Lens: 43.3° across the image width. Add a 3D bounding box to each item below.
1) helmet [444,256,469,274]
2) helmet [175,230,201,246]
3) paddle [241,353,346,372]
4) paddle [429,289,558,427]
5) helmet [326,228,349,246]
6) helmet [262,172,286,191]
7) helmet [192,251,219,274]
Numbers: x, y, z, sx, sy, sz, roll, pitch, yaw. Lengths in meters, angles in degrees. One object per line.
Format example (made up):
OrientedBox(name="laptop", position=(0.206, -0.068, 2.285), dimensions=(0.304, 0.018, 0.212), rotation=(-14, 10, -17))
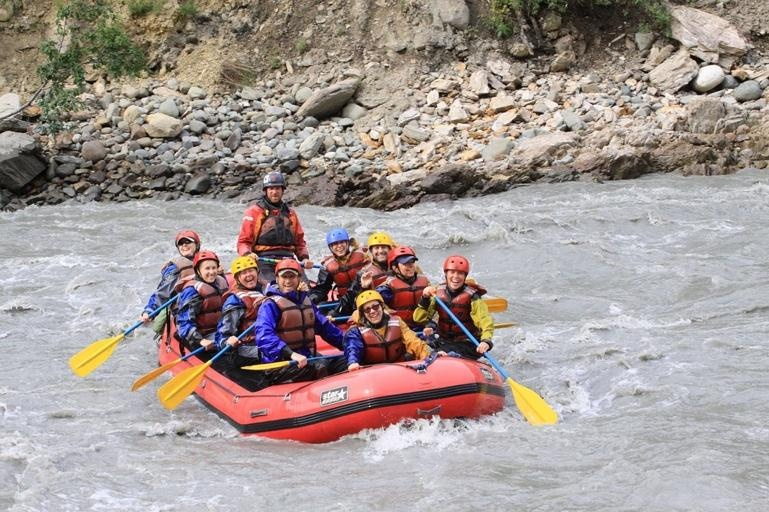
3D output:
OrientedBox(name="helmet", position=(1.094, 0.100, 14.777), dimensions=(0.333, 0.308, 0.286), rotation=(5, 15, 2))
OrientedBox(name="helmet", position=(-3.238, -0.340, 15.747), dimensions=(0.315, 0.162, 0.365), rotation=(-9, -21, 0))
OrientedBox(name="paddle", position=(-1.313, 1.537, 14.115), dimensions=(1.685, 0.060, 0.170), rotation=(-6, -35, -1))
OrientedBox(name="paddle", position=(1.599, 1.596, 14.687), dimensions=(3.147, 0.452, 0.149), rotation=(37, -12, 19))
OrientedBox(name="helmet", position=(-0.784, -0.354, 15.633), dimensions=(0.327, 0.299, 0.272), rotation=(-2, 17, -9))
OrientedBox(name="helmet", position=(-1.862, -1.299, 16.067), dimensions=(0.534, 0.262, 0.589), rotation=(-1, -8, -6))
OrientedBox(name="helmet", position=(-2.802, 0.078, 15.031), dimensions=(0.362, 0.336, 0.257), rotation=(3, -3, -16))
